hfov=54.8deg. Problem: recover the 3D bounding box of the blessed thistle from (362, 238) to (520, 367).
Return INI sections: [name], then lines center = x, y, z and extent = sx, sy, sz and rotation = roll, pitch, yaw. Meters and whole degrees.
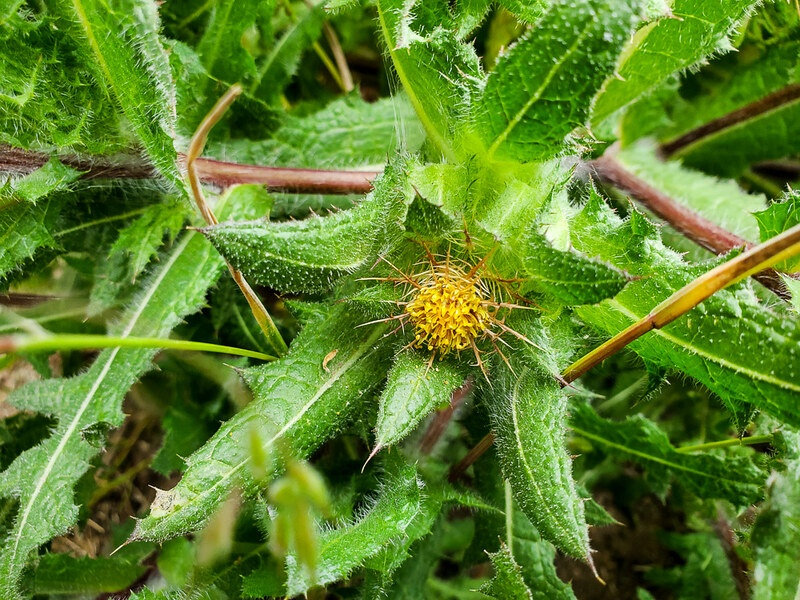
[blessed thistle]
center = 0.089, 0.013, 1.489
extent = 0.262, 0.240, 0.144
rotation = 57, 39, -18
